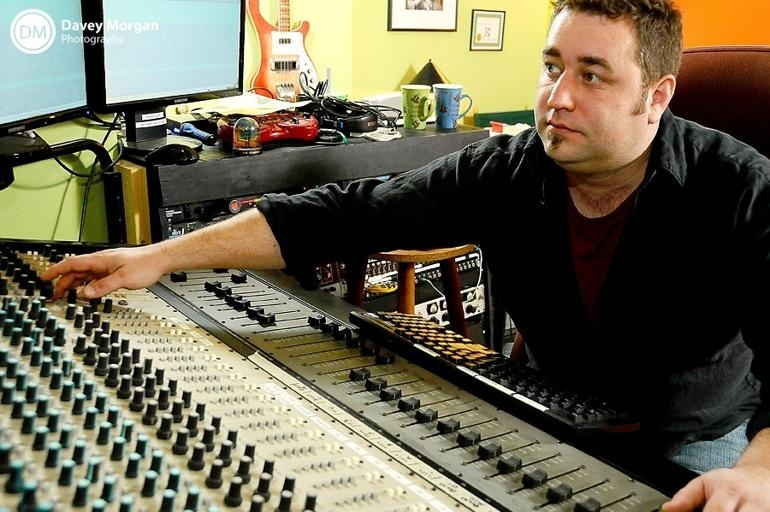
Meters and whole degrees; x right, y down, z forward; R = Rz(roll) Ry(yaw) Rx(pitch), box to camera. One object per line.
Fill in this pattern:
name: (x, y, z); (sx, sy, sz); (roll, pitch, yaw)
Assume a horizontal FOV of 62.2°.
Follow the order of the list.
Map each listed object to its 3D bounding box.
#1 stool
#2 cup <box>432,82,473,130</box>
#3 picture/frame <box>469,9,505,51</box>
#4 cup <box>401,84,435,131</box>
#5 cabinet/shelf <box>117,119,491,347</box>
stool: (0.075, 0.170, 2.741); (0.535, 0.439, 0.487); (4, 10, -6)
cup: (0.329, -0.735, 3.168); (0.245, 0.177, 0.153); (-4, 14, -15)
picture/frame: (0.674, -1.529, 4.260); (0.387, 0.222, 0.015); (-15, 25, -38)
cup: (0.189, -0.708, 3.064); (0.172, 0.187, 0.225); (-2, 20, -14)
cabinet/shelf: (-0.294, -0.109, 1.989); (1.156, 0.815, 0.402); (-10, 22, -26)
